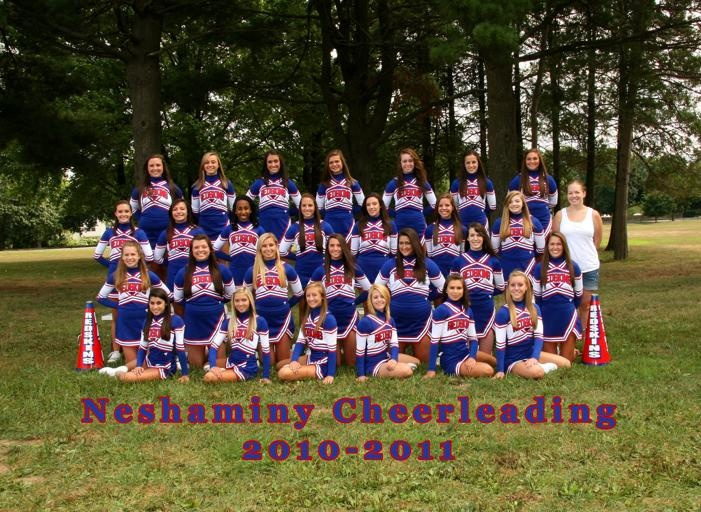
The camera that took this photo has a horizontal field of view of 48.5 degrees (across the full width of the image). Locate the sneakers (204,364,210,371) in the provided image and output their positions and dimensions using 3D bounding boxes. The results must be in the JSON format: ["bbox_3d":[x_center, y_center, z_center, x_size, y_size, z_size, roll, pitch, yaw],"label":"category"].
[{"bbox_3d":[-2.118,1.642,11.432,0.090,0.046,0.119,4,12,-3],"label":"sneakers"}]

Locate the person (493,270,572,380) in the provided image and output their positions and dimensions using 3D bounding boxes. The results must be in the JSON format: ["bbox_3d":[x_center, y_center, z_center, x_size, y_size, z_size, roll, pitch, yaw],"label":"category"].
[{"bbox_3d":[2.518,0.958,11.080,0.948,1.478,0.702,0,0,4],"label":"person"}]

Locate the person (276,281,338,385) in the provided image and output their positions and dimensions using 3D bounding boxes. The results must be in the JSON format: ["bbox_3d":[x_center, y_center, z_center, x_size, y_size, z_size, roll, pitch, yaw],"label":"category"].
[{"bbox_3d":[-0.585,1.076,11.163,0.779,1.405,0.668,0,0,-3],"label":"person"}]

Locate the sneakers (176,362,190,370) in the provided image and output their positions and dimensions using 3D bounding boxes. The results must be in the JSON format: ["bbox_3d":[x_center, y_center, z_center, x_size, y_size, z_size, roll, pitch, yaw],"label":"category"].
[{"bbox_3d":[-2.454,1.630,11.350,0.152,0.073,0.172,2,-4,-5],"label":"sneakers"}]

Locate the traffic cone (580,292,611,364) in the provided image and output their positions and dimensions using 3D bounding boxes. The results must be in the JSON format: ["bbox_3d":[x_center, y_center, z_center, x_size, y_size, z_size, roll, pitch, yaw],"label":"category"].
[{"bbox_3d":[3.638,1.070,11.488,0.395,1.002,0.776,0,0,17],"label":"traffic cone"}]

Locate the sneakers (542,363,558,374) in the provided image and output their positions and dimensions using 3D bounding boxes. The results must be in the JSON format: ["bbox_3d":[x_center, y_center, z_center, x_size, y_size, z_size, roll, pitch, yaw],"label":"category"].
[{"bbox_3d":[2.816,1.587,10.953,0.220,0.121,0.313,0,-1,13],"label":"sneakers"}]
